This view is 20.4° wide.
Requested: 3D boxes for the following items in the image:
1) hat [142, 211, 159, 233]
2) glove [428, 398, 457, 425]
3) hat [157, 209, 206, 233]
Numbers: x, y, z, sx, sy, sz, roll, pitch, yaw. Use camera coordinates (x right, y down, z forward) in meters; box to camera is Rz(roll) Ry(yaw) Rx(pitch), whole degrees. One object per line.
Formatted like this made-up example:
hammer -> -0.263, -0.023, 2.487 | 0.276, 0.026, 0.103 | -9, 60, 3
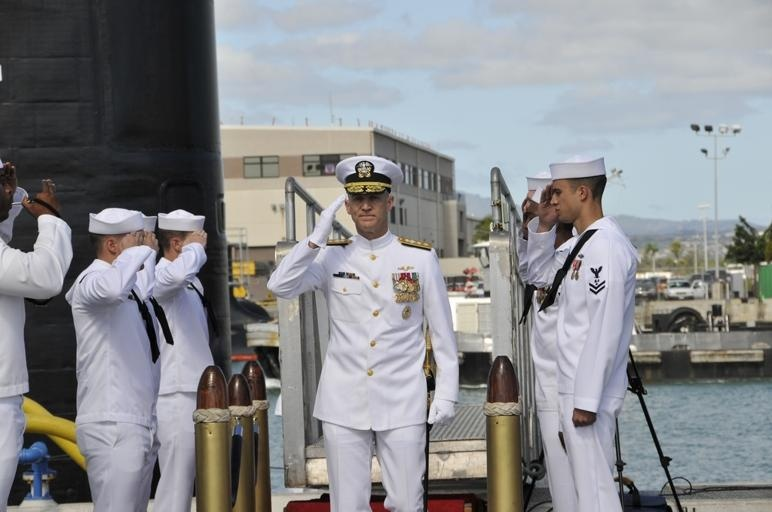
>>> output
hat -> -3.540, -0.518, 32.296 | 0.270, 0.243, 0.284 | -1, -9, 4
glove -> 0.816, 2.253, 30.593 | 0.398, 0.374, 0.161 | -1, 2, -2
hat -> -3.029, -0.545, 32.067 | 0.507, 0.221, 0.367 | 2, 0, 10
